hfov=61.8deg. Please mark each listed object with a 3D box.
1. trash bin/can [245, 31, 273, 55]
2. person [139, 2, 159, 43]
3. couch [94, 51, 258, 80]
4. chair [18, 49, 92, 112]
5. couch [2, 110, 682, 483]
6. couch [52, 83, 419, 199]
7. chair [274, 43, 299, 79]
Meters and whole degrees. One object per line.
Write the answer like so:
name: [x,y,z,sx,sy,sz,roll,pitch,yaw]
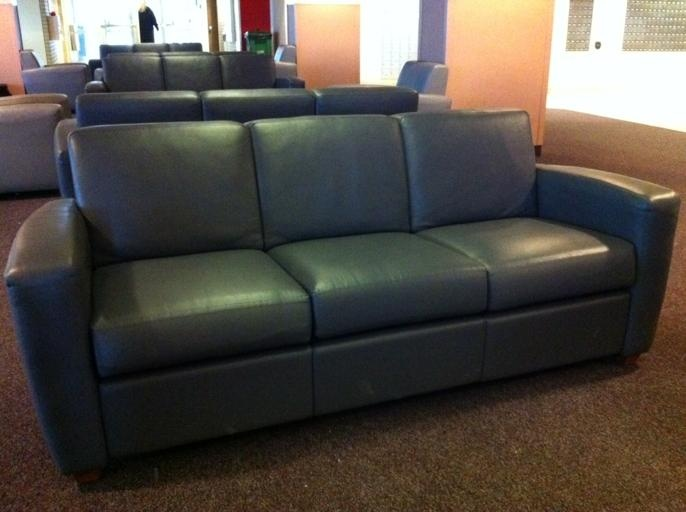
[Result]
trash bin/can: [-1.162,-2.991,8.086,0.339,0.264,0.484,-6,25,-9]
person: [-3.415,-4.076,10.044,0.321,0.643,1.247,-10,25,-14]
couch: [-1.575,-1.944,5.981,1.700,0.366,0.151,-8,26,-14]
chair: [-3.535,-2.192,7.309,0.794,0.700,0.798,-3,9,-11]
couch: [0.012,-0.002,2.309,2.272,0.982,0.836,-9,26,-15]
couch: [-0.412,-0.554,2.973,1.787,0.557,0.539,-3,32,-8]
chair: [-0.721,-2.535,7.537,0.328,0.416,0.241,7,25,11]
